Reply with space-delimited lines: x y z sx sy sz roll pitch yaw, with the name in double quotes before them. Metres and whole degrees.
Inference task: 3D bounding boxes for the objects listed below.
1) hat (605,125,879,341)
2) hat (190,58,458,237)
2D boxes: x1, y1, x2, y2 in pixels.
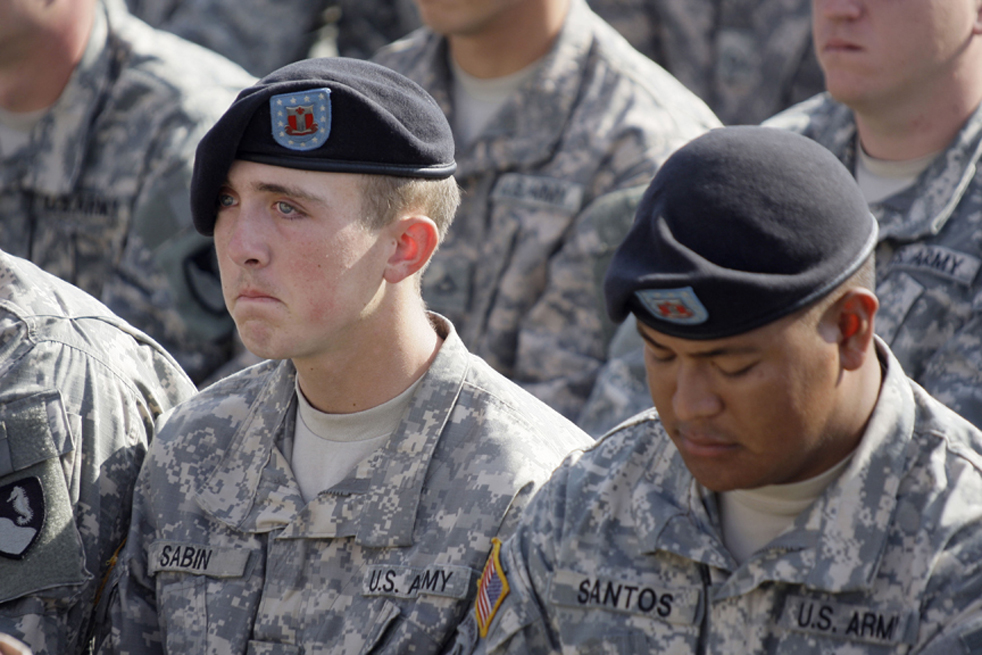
"hat" 0.780 -0.342 6.699 0.729 0.430 0.605 -9 14 -11
"hat" -0.551 -0.579 7.295 0.719 0.436 0.593 1 -4 -21
